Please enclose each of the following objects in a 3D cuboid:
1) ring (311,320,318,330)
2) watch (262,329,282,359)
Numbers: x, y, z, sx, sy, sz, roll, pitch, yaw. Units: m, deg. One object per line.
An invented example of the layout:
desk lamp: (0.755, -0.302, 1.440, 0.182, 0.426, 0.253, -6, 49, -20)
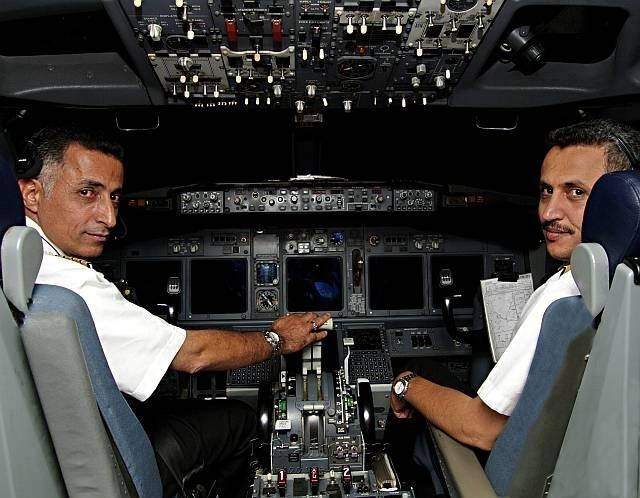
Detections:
ring: (-0.030, 0.352, 2.532, 0.029, 0.036, 0.038, -1, 48, -2)
watch: (-0.215, 0.421, 2.447, 0.031, 0.096, 0.101, -16, 32, -6)
